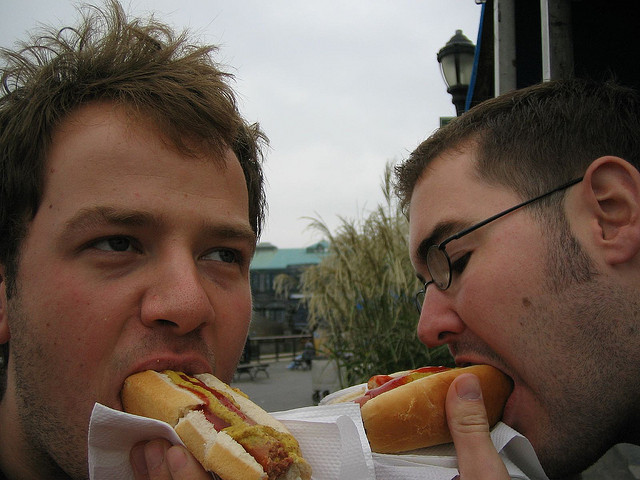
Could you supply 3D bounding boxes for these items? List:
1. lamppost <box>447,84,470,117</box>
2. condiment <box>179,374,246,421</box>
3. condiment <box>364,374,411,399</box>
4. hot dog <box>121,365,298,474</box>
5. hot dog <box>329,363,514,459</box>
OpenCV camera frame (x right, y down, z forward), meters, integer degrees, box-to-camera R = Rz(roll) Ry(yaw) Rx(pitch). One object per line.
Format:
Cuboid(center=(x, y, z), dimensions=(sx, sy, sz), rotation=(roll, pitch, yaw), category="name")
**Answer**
Cuboid(center=(1.706, -1.693, 7.848), dimensions=(0.239, 0.486, 0.263), rotation=(-11, -15, 16), category="lamppost")
Cuboid(center=(-0.529, 0.797, 3.229), dimensions=(0.315, 0.086, 0.177), rotation=(37, -18, -22), category="condiment")
Cuboid(center=(0.418, 0.872, 3.879), dimensions=(0.203, 0.058, 0.128), rotation=(-26, -2, -41), category="condiment")
Cuboid(center=(-0.517, 0.853, 3.098), dimensions=(0.834, 0.253, 0.413), rotation=(24, 28, 32), category="hot dog")
Cuboid(center=(0.602, 0.901, 3.679), dimensions=(0.904, 0.322, 0.491), rotation=(-19, 5, 7), category="hot dog")
